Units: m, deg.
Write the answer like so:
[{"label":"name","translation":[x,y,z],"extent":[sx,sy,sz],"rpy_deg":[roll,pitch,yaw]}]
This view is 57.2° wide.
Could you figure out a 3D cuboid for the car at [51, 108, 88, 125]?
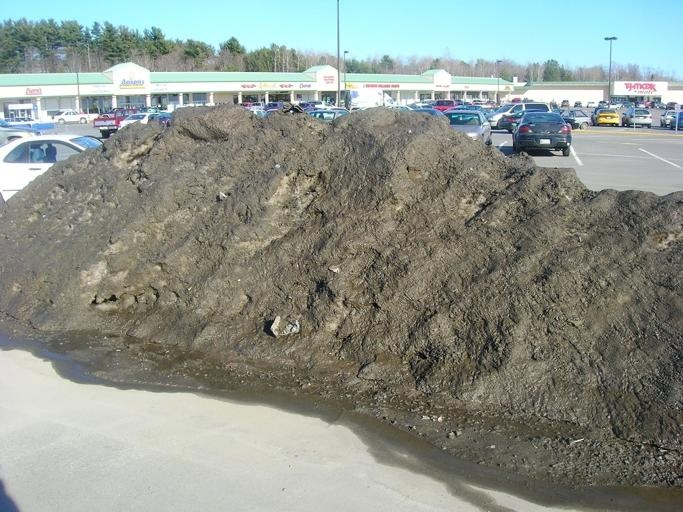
[{"label":"car","translation":[-22.540,-11.483,51.893],"extent":[2.965,1.213,1.567],"rpy_deg":[-10,27,-22]}]

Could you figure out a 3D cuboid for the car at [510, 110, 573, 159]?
[{"label":"car","translation":[6.983,-4.103,21.563],"extent":[1.830,1.359,1.818],"rpy_deg":[4,16,18]}]
